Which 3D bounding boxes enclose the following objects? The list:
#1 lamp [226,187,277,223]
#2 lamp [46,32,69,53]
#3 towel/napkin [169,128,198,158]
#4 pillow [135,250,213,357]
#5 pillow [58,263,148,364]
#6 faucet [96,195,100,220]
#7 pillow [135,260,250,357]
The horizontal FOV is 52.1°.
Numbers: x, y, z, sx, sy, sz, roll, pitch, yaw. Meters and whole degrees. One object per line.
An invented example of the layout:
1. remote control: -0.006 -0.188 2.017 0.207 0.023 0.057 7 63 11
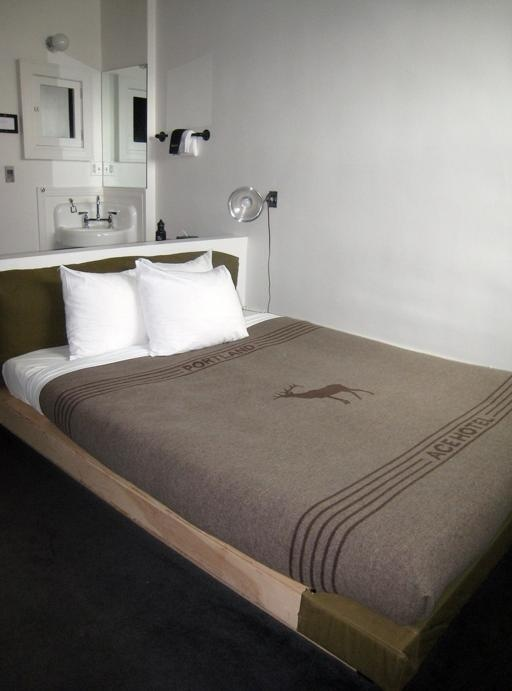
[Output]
1. lamp: -0.034 -0.938 3.511 0.359 0.236 0.137 13 16 34
2. lamp: -1.307 -1.977 3.484 0.126 0.130 0.120 2 26 -46
3. towel/napkin: -0.505 -1.438 3.711 0.171 0.172 0.097 21 31 32
4. pillow: -0.364 -0.168 2.325 0.382 0.119 0.386 25 38 32
5. pillow: -0.653 -0.136 2.216 0.108 0.379 0.378 -7 4 42
6. faucet: -1.160 -1.016 3.855 0.026 0.168 0.072 -1 14 -17
7. pillow: -0.251 -0.201 2.247 0.441 0.418 0.138 -10 -5 -41
